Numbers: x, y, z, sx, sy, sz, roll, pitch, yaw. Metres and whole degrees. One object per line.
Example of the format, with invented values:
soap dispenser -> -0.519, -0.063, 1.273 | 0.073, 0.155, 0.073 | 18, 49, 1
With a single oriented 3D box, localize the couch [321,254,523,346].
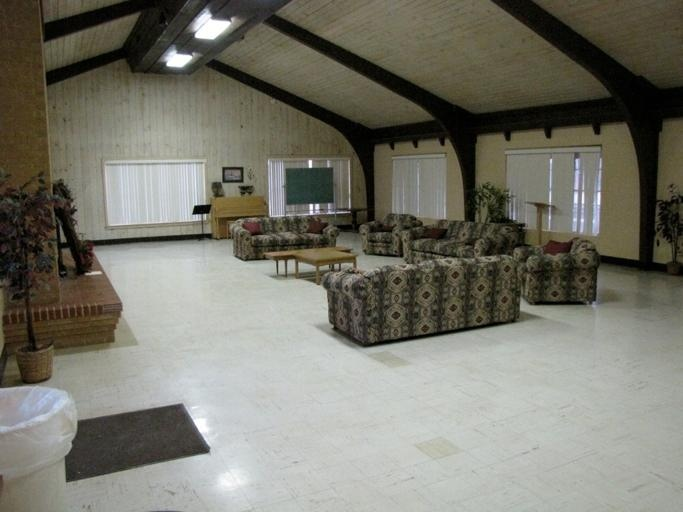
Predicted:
couch -> 1.080, 0.496, 5.809 | 2.280, 0.965, 0.653 | -4, 11, -16

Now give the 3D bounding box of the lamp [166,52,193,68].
lamp -> -4.113, -4.990, 11.728 | 0.583, 0.143, 0.563 | -4, -2, 24

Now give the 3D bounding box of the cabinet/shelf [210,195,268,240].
cabinet/shelf -> -3.191, -1.203, 14.526 | 1.713, 1.376, 0.634 | -6, -4, -27

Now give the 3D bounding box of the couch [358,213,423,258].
couch -> 1.285, -0.570, 11.795 | 1.368, 1.200, 1.127 | 2, 3, 44

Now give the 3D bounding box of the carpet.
carpet -> -1.568, 1.412, 3.624 | 0.960, 0.036, 0.848 | -5, 11, -21

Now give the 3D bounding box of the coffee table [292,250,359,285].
coffee table -> -0.346, 0.048, 8.758 | 0.798, 0.402, 0.796 | -5, 9, -30

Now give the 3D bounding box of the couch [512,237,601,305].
couch -> 3.249, 0.301, 7.353 | 1.112, 1.219, 1.266 | 1, 3, -3

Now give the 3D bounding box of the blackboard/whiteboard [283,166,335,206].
blackboard/whiteboard -> -1.186, -2.446, 15.847 | 1.334, 0.995, 0.048 | -2, 4, -25
